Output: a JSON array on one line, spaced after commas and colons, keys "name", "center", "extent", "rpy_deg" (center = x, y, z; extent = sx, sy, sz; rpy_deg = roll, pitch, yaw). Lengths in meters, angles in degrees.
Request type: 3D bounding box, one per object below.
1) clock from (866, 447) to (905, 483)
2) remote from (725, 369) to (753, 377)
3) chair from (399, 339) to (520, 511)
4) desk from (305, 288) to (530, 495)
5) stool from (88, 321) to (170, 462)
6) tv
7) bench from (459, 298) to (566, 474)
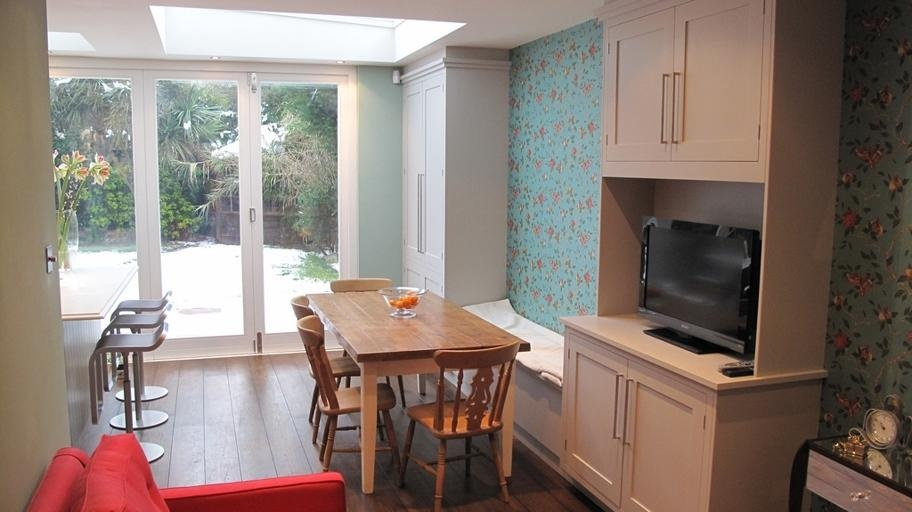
[{"name": "clock", "center": [2.309, 1.117, 3.117], "extent": [0.197, 0.129, 0.189], "rpy_deg": [9, -3, -26]}, {"name": "remote", "center": [1.703, 0.701, 3.498], "extent": [0.182, 0.033, 0.048], "rpy_deg": [-1, 14, -7]}, {"name": "chair", "center": [0.028, 1.155, 4.574], "extent": [0.883, 1.213, 1.217], "rpy_deg": [1, 14, 1]}, {"name": "desk", "center": [-0.341, 0.603, 4.801], "extent": [1.399, 1.011, 2.433], "rpy_deg": [0, 7, -20]}, {"name": "stool", "center": [-2.874, 0.935, 5.183], "extent": [0.512, 0.767, 0.476], "rpy_deg": [-7, 10, -35]}, {"name": "tv", "center": [1.661, 0.213, 3.903], "extent": [0.178, 0.646, 0.823], "rpy_deg": [-2, 20, -31]}, {"name": "bench", "center": [0.474, 1.115, 4.721], "extent": [0.515, 0.463, 1.353], "rpy_deg": [-2, 12, -15]}]
